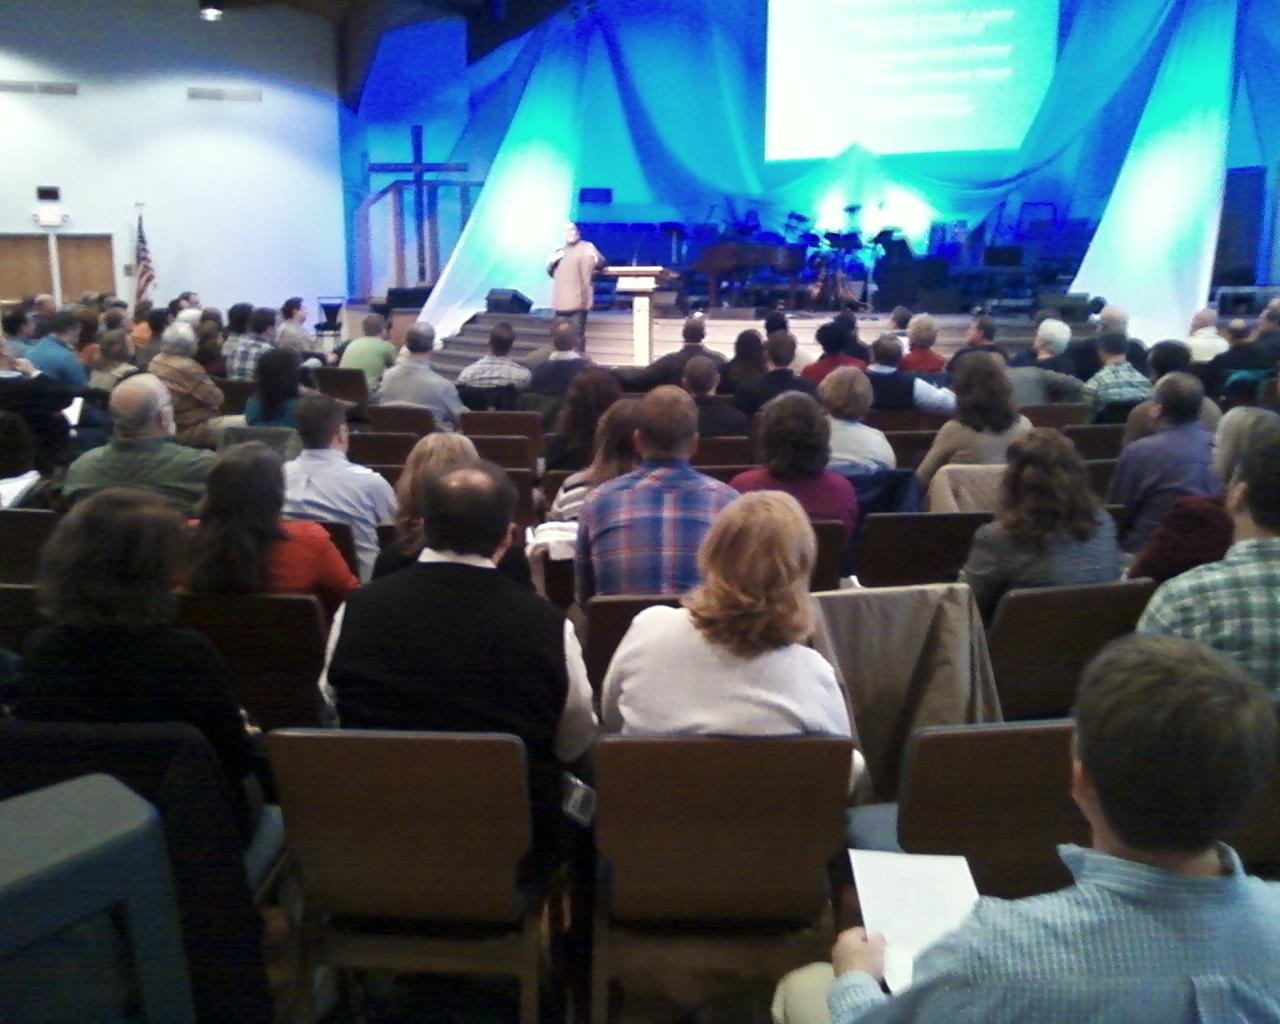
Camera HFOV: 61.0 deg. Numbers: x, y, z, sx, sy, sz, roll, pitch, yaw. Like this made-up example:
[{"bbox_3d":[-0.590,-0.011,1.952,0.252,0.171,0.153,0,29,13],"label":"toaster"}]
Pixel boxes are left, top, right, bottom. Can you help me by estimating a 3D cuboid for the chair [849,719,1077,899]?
[{"bbox_3d":[0.624,0.521,2.173,0.338,0.580,0.343,-1,36,2],"label":"chair"}]
